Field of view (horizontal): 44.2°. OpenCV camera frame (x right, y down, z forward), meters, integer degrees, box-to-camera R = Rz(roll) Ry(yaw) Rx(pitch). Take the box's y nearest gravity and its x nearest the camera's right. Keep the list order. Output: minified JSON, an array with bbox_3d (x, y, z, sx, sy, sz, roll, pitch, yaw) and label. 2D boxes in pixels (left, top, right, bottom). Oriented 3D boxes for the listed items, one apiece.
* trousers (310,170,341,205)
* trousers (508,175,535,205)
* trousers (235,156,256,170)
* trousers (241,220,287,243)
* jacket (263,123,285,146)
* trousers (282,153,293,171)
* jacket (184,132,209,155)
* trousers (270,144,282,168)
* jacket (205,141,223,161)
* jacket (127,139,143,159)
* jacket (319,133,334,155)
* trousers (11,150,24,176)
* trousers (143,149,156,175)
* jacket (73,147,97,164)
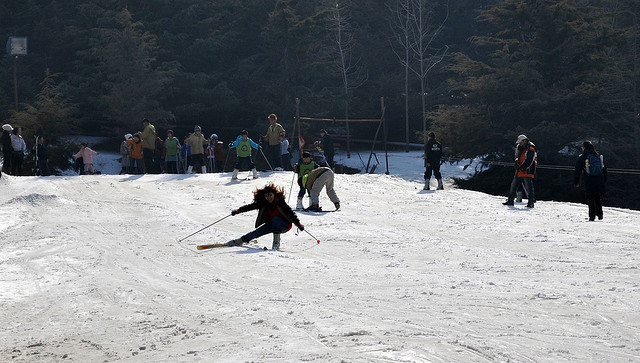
[{"bbox_3d":[0.180,0.368,43.461,1.875,1.900,0.758,-7,28,-19],"label":"trousers"},{"bbox_3d":[11.593,0.537,45.525,1.640,2.073,0.768,6,12,35],"label":"trousers"},{"bbox_3d":[-5.081,-1.238,52.843,1.511,1.169,0.509,-2,11,-2],"label":"trousers"},{"bbox_3d":[-2.712,2.257,37.955,1.986,0.615,0.870,-28,15,0],"label":"trousers"},{"bbox_3d":[-2.883,-2.948,49.968,1.044,1.461,0.824,3,11,1],"label":"jacket"},{"bbox_3d":[-2.285,-1.283,52.800,0.472,1.157,1.097,5,11,12],"label":"trousers"},{"bbox_3d":[-7.979,-2.416,50.698,1.333,1.428,0.786,3,11,2],"label":"jacket"},{"bbox_3d":[-2.851,-1.657,50.791,0.551,1.595,1.337,4,11,4],"label":"trousers"},{"bbox_3d":[-7.262,-2.057,53.754,1.418,1.367,1.025,-2,-13,13],"label":"jacket"},{"bbox_3d":[-11.903,-2.136,50.697,1.469,1.208,0.757,0,-1,-29],"label":"jacket"},{"bbox_3d":[0.393,-2.379,50.642,0.698,1.390,1.366,9,12,28],"label":"jacket"},{"bbox_3d":[-19.090,-1.179,49.605,0.690,1.737,1.248,-2,12,-22],"label":"trousers"},{"bbox_3d":[-11.091,-1.301,50.769,0.594,1.459,0.784,-1,12,-18],"label":"trousers"},{"bbox_3d":[-16.543,-1.804,55.152,2.058,0.980,0.472,0,-3,14],"label":"jacket"}]
